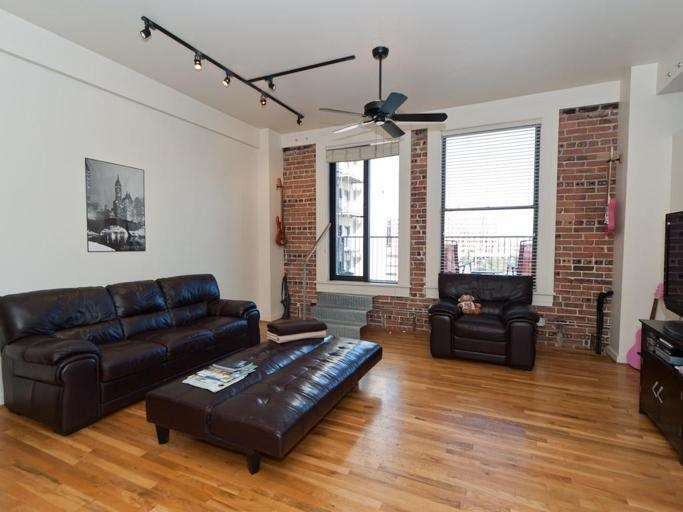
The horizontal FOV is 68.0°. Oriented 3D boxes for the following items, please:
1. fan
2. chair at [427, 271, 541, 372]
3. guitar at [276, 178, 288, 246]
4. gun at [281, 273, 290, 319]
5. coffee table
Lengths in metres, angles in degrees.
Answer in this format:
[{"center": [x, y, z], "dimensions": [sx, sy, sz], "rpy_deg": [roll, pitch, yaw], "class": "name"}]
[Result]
[{"center": [0.432, -1.764, 5.266], "dimensions": [1.184, 0.844, 1.080], "rpy_deg": [-1, -8, 7], "class": "fan"}, {"center": [1.727, 0.741, 6.232], "dimensions": [1.144, 1.038, 0.873], "rpy_deg": [2, 2, 17], "class": "chair"}, {"center": [-0.979, -0.695, 8.080], "dimensions": [0.128, 1.119, 0.329], "rpy_deg": [-1, 5, 12], "class": "guitar"}, {"center": [-0.900, 0.632, 8.136], "dimensions": [0.151, 0.694, 0.341], "rpy_deg": [-3, 5, -4], "class": "gun"}, {"center": [-0.607, 1.343, 4.699], "dimensions": [1.184, 0.788, 1.911], "rpy_deg": [2, 5, 41], "class": "coffee table"}]
